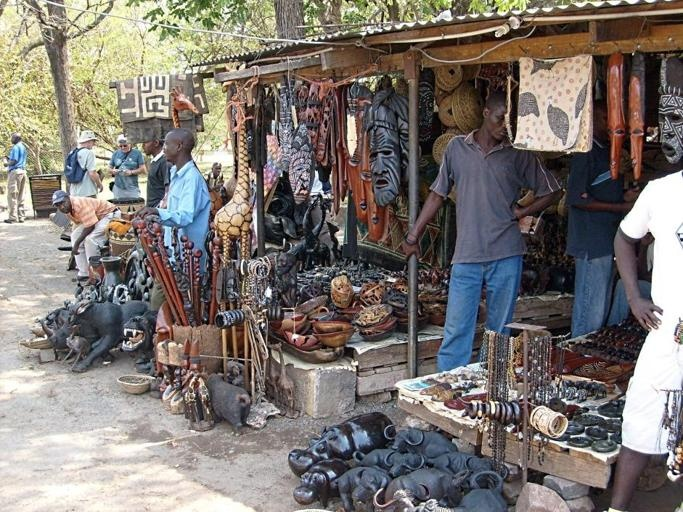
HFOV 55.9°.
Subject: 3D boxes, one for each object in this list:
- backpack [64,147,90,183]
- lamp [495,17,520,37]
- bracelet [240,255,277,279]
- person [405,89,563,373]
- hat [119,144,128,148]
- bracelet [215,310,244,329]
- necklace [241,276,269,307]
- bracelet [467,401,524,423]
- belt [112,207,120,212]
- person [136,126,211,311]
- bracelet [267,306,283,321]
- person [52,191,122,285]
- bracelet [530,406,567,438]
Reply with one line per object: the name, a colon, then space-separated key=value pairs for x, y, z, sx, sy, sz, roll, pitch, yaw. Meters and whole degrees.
backpack: x=-4.552 y=-1.582 z=11.069 sx=0.297 sy=0.545 sz=0.397 roll=4 pitch=-5 yaw=-12
lamp: x=1.179 y=-1.628 z=4.554 sx=0.166 sy=0.123 sz=0.134 roll=3 pitch=15 yaw=17
bracelet: x=-0.712 y=0.092 z=5.458 sx=0.314 sy=0.165 sz=0.214 roll=-5 pitch=15 yaw=-15
person: x=1.119 y=-0.182 z=5.221 sx=1.124 sy=2.227 sz=0.597 roll=3 pitch=15 yaw=18
hat: x=-3.633 y=-1.821 z=10.709 sx=0.112 sy=0.087 sz=0.219 roll=-7 pitch=15 yaw=-20
bracelet: x=-0.915 y=0.521 z=5.312 sx=0.091 sy=0.129 sz=0.216 roll=-14 pitch=-3 yaw=38
necklace: x=-0.726 y=0.295 z=5.351 sx=0.219 sy=0.229 sz=0.068 roll=3 pitch=7 yaw=-4
bracelet: x=0.951 y=0.956 z=4.020 sx=0.352 sy=0.160 sz=0.133 roll=1 pitch=2 yaw=-5
belt: x=-3.254 y=-0.666 z=9.232 sx=0.115 sy=0.047 sz=0.163 roll=-2 pitch=4 yaw=-17
person: x=-1.637 y=-0.227 z=6.458 sx=0.668 sy=2.131 sz=0.613 roll=-11 pitch=34 yaw=-25
bracelet: x=-0.567 y=0.483 z=5.484 sx=0.128 sy=0.106 sz=0.100 roll=1 pitch=6 yaw=10
person: x=-3.550 y=-0.273 z=9.097 sx=0.786 sy=1.352 sz=0.558 roll=-6 pitch=15 yaw=-17
bracelet: x=1.242 y=1.008 z=3.897 sx=0.129 sy=0.131 sz=0.171 roll=37 pitch=-7 yaw=-26
